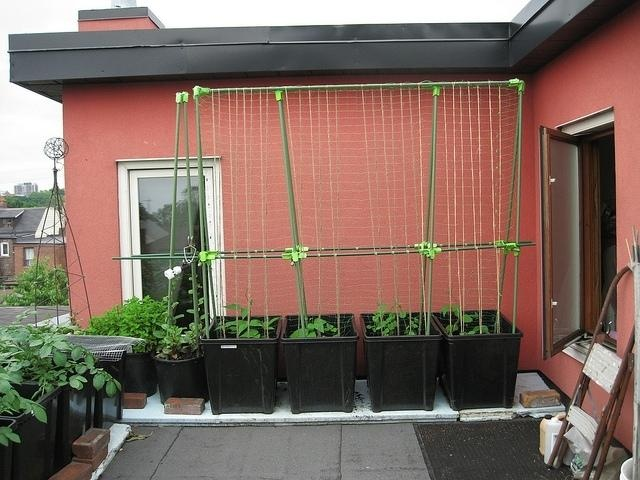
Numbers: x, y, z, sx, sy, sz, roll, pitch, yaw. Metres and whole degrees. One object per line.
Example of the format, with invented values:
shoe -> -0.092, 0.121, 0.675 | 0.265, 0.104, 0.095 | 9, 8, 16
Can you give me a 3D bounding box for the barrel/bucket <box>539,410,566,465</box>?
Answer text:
barrel/bucket -> 1.879, 1.520, 4.438 | 0.196, 0.351, 0.321 | -1, 1, 8
